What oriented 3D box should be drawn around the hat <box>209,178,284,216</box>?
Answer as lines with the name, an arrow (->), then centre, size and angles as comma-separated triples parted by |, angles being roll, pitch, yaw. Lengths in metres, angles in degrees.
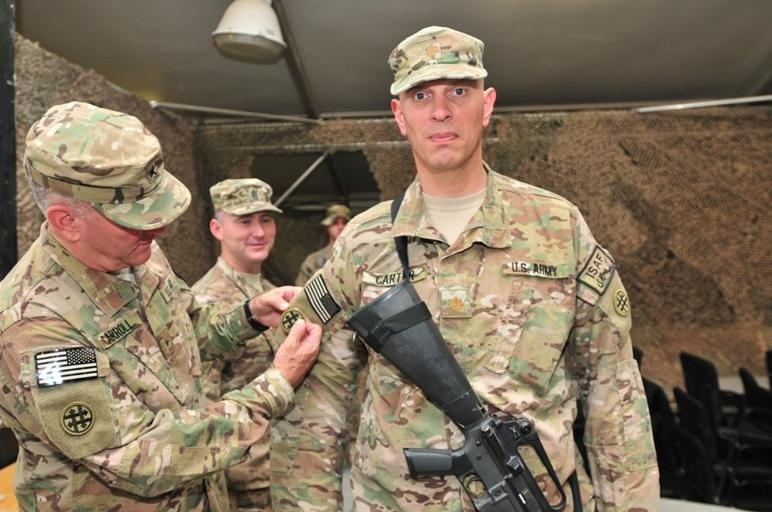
hat -> -0.945, -0.385, 4.872 | 0.268, 0.145, 0.365 | 0, 1, -35

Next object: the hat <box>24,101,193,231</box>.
hat -> -1.281, -0.438, 3.455 | 0.775, 0.305, 0.511 | 28, 39, -3

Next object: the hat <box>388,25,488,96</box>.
hat -> 0.233, -0.900, 3.431 | 0.425, 0.214, 0.248 | -3, 44, -1

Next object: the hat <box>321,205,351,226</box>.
hat -> -0.392, -0.314, 5.812 | 0.209, 0.108, 0.151 | 3, -4, -34
